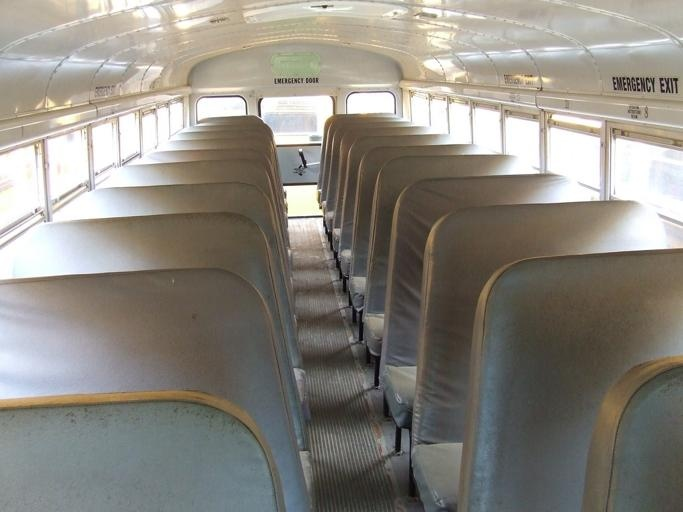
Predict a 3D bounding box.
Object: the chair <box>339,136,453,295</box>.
[{"bbox_3d":[0.351,-0.177,5.067,0.586,0.597,1.028,6,-78,-13],"label":"chair"}]
